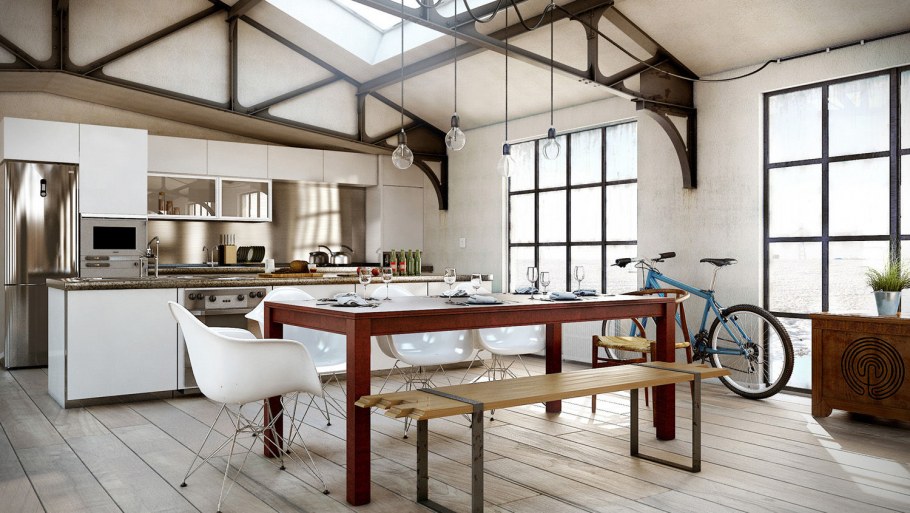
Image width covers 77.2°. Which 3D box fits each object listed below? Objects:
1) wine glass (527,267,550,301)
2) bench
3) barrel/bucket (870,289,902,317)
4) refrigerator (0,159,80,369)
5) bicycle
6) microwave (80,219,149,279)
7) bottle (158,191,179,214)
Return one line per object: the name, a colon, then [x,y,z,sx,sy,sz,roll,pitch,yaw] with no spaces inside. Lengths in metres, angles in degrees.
wine glass: [0.816,0.275,5.642,0.325,0.394,0.150,-1,-5,0]
bench: [0.779,1.446,4.688,2.974,0.871,0.735,-3,11,-20]
barrel/bucket: [4.323,0.456,5.720,0.261,0.198,0.271,1,2,0]
refrigerator: [-5.601,0.103,7.661,1.036,2.756,0.369,-7,13,-30]
bicycle: [3.047,0.902,7.004,2.040,1.120,1.285,7,3,44]
microwave: [-4.676,-0.120,7.722,0.892,0.906,0.481,1,0,-33]
bottle: [-4.270,-0.785,8.409,0.370,0.373,0.274,0,0,-11]
